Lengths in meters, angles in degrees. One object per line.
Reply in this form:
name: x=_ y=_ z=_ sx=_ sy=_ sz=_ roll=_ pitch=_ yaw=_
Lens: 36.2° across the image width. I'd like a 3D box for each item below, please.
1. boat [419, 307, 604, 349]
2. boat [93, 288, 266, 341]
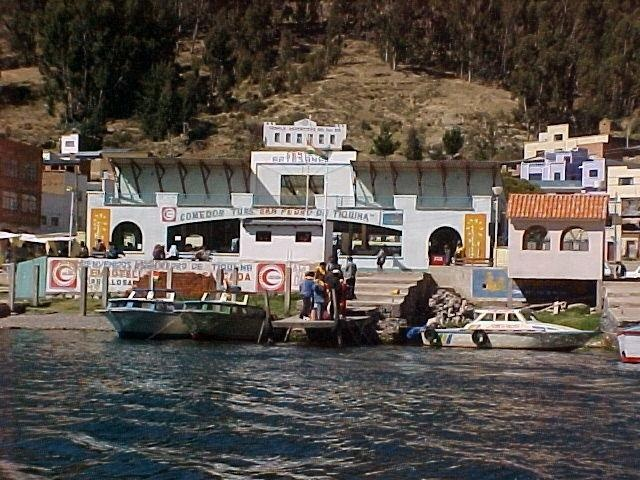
boat: x=10.344 y=5.310 z=53.964 sx=10.264 sy=2.488 sz=3.110 roll=-1 pitch=-1 yaw=18
boat: x=-7.236 y=4.126 z=53.672 sx=8.104 sy=2.621 sz=1.796 roll=0 pitch=12 yaw=-3
